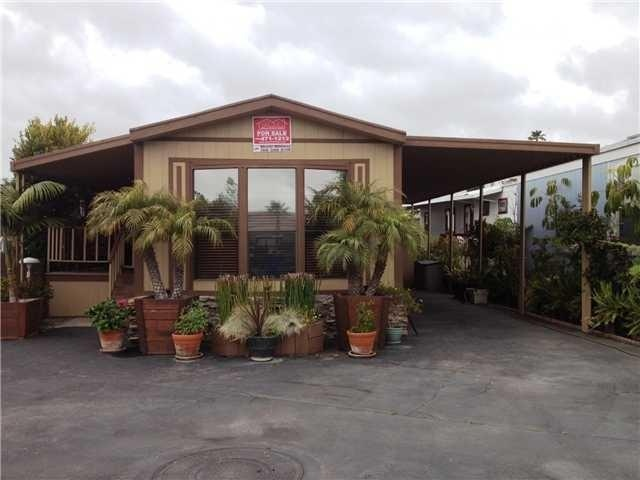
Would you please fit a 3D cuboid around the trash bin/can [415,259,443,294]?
[{"bbox_3d":[4.235,1.458,19.653,0.984,1.070,0.776,4,-2,-32],"label":"trash bin/can"}]

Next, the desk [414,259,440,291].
[{"bbox_3d":[4.200,1.469,19.645,0.889,1.039,1.105,-2,-8,42],"label":"desk"}]
